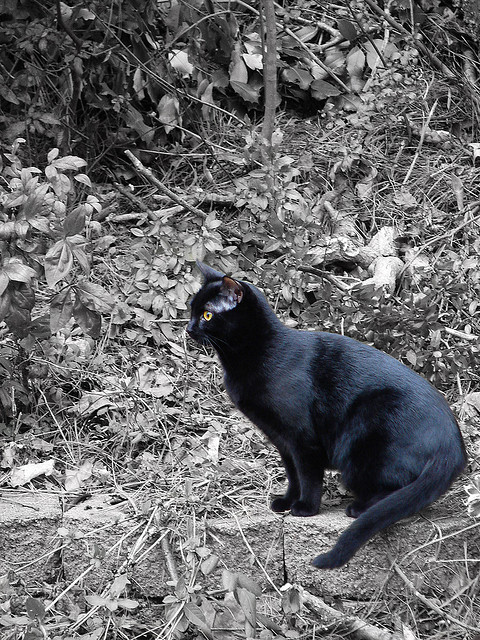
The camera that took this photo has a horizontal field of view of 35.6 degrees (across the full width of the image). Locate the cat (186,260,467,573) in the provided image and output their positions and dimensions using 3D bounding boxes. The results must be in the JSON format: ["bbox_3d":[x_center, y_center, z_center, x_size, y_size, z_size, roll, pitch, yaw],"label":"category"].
[{"bbox_3d":[0.160,0.258,2.168,0.949,0.427,0.712,16,64,-30],"label":"cat"}]
